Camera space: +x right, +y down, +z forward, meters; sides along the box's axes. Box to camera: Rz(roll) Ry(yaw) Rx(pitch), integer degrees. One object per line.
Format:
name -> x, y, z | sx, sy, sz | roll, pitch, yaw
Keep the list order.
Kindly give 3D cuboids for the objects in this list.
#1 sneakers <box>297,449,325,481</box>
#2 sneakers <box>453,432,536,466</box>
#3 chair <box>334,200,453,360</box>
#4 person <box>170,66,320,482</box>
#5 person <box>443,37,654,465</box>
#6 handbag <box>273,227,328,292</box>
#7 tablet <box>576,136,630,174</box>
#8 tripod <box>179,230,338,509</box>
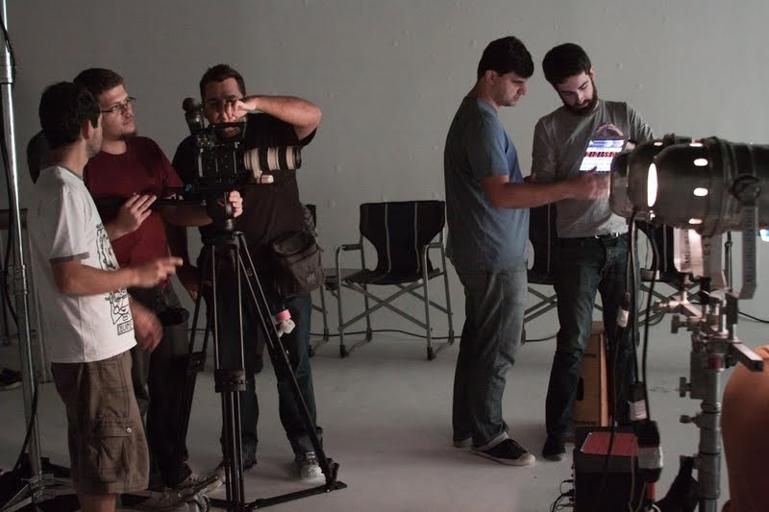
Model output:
sneakers -> -0.366, 1.022, 3.646 | 0.077, 0.095, 0.218 | -1, -1, -29
sneakers -> 0.551, 0.949, 3.762 | 0.405, 0.182, 0.146 | 5, 5, 24
chair -> 0.063, 0.119, 4.981 | 0.641, 1.029, 0.597 | -2, 2, 26
person -> -0.616, 0.207, 3.651 | 0.766, 2.190, 0.712 | -5, 15, -3
person -> 0.584, -0.006, 3.574 | 0.597, 2.009, 0.443 | 0, 13, 8
handbag -> -0.400, 0.032, 3.541 | 0.220, 0.286, 0.139 | -25, 35, -24
tablet -> 1.068, -0.494, 3.565 | 0.304, 0.155, 0.180 | -14, 18, -39
tripod -> -0.550, 0.489, 3.307 | 0.674, 1.321, 0.700 | -3, 13, -5
